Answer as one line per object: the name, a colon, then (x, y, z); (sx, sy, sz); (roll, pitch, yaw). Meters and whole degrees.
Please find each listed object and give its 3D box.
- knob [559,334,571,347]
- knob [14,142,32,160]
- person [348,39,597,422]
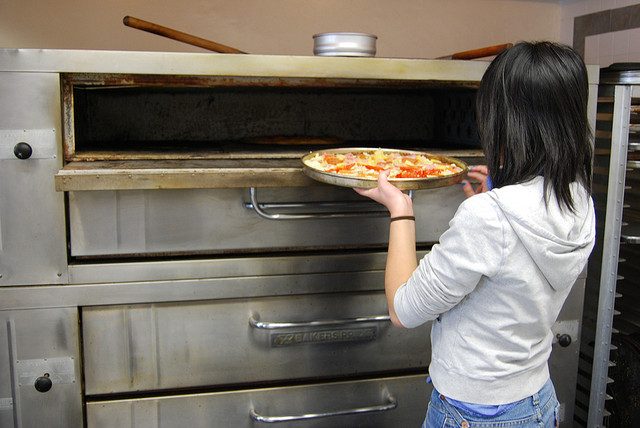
knob: (1.102, 0.570, 2.373); (0.054, 0.052, 0.017); (-8, 15, -28)
knob: (-1.137, -0.241, 2.020); (0.060, 0.074, 0.039); (-4, 1, -16)
person: (0.536, 0.104, 1.716); (0.703, 0.977, 0.326); (-3, 1, 17)
